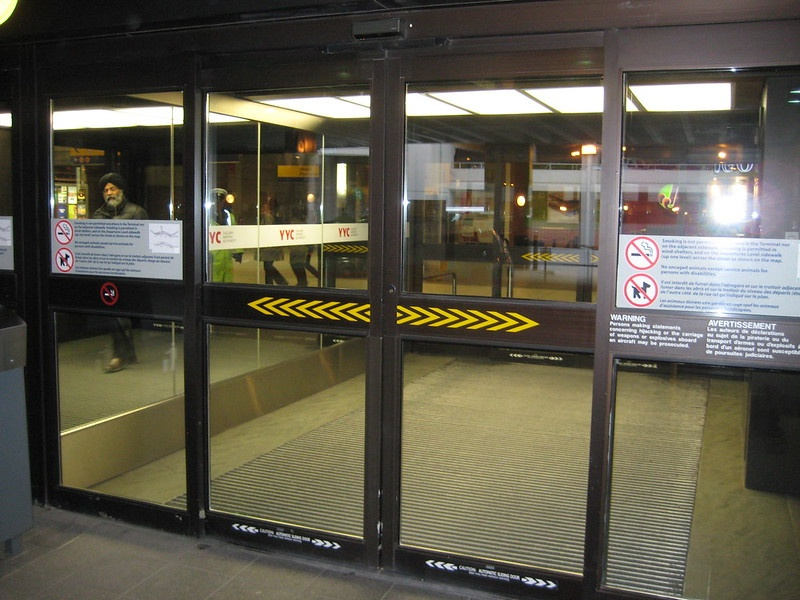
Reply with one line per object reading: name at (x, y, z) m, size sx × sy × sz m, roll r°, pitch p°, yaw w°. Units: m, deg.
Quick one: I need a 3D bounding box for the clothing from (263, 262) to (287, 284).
clothing at (-0.835, -0.177, 4.282) m, size 0.156 × 0.138 × 0.041 m, roll 1°, pitch 13°, yaw 28°

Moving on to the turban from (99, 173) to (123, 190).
turban at (-2.021, -0.836, 4.518) m, size 0.126 × 0.124 × 0.151 m, roll -1°, pitch 26°, yaw -11°
